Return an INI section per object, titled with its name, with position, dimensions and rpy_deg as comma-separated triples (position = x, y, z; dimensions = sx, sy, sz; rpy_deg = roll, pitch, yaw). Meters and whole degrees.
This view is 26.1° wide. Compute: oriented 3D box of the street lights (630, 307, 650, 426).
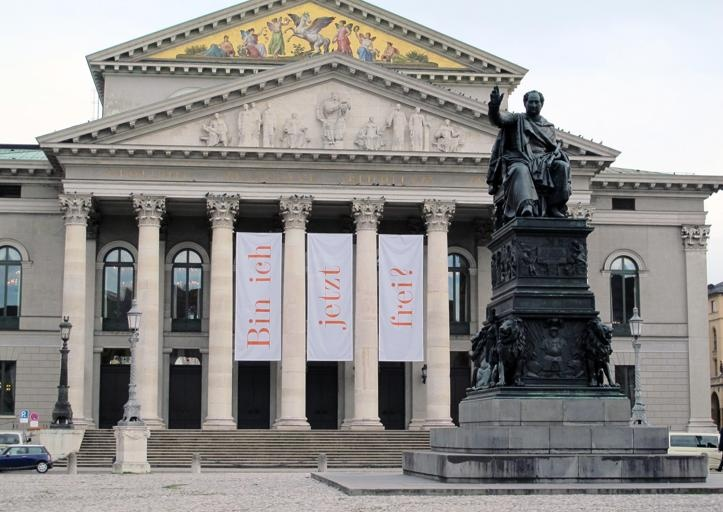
[street lights]
position = 14.324, 5.662, 79.846
dimensions = 0.895, 6.843, 0.998
rpy_deg = -5, -6, -2
